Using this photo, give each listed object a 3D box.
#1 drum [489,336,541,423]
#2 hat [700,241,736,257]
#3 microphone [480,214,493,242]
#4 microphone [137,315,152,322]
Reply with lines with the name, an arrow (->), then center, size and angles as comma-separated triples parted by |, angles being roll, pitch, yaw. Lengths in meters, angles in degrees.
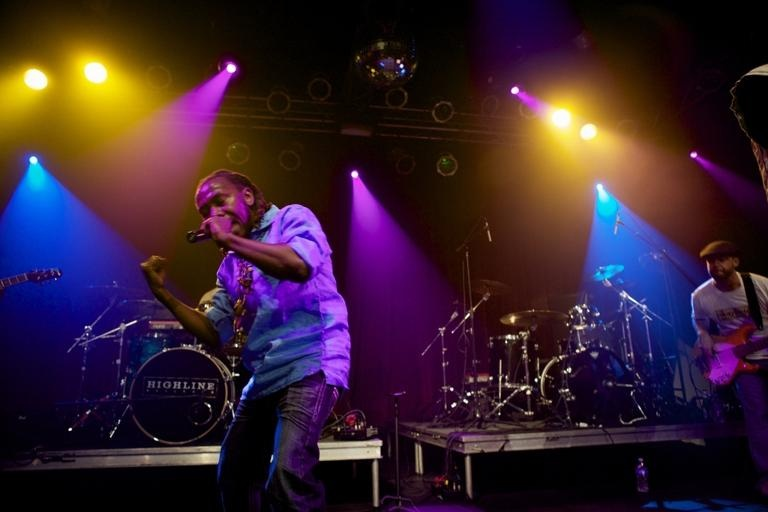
drum -> 2.175, 2.069, 9.402 | 0.989, 1.299, 0.947 | -1, -19, 0
hat -> 4.560, -0.077, 7.697 | 0.327, 0.122, 0.295 | 4, -5, 14
microphone -> 1.884, -0.527, 10.396 | 0.194, 0.225, 0.923 | 0, -28, 16
microphone -> -3.629, 0.937, 8.644 | 0.124, 0.118, 0.034 | -7, -64, 6
